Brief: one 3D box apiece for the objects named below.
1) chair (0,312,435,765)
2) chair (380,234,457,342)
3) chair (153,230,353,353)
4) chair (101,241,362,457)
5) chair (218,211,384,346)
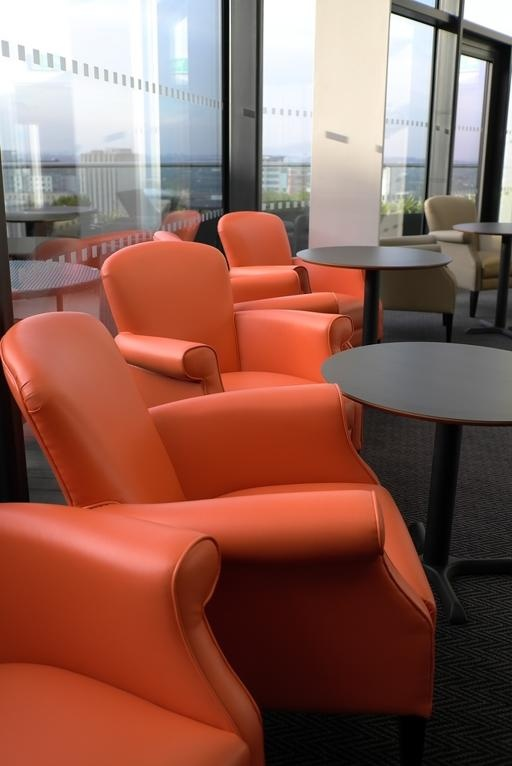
[{"bbox_3d":[-0.015,0.252,1.248,0.822,0.946,0.812,0,21,0],"label":"chair"},{"bbox_3d":[1.315,-0.833,4.421,0.641,0.780,0.702,2,18,11],"label":"chair"},{"bbox_3d":[0.067,-0.328,2.663,0.631,0.726,0.561,-9,25,-12],"label":"chair"},{"bbox_3d":[-0.070,-0.050,2.006,0.783,0.927,0.818,-14,17,-32],"label":"chair"},{"bbox_3d":[0.287,-0.576,3.322,0.945,0.985,0.929,-2,14,15],"label":"chair"}]
